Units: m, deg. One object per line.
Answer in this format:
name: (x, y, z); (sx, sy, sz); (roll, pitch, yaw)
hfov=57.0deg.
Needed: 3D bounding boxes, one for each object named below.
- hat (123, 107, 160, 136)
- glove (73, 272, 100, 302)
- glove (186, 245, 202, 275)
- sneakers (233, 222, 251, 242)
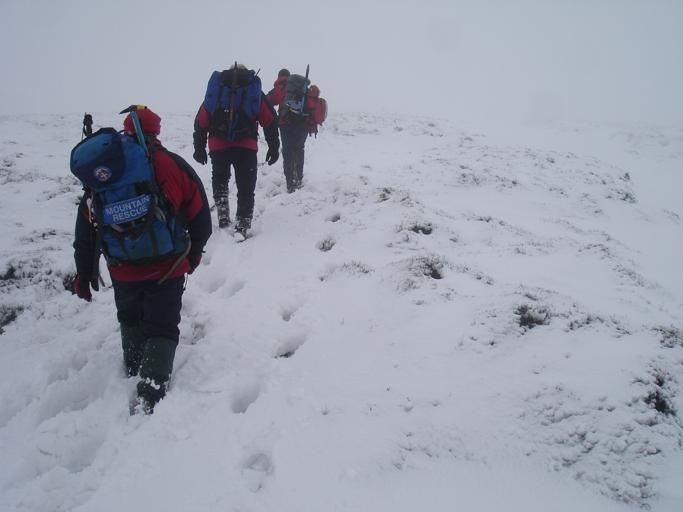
hat: (-3.129, -2.182, 9.845); (0.395, 0.448, 0.536); (-17, 45, -42)
glove: (-3.937, 0.463, 9.805); (0.358, 0.524, 0.209); (8, 18, 10)
glove: (-2.361, 0.066, 10.127); (0.259, 0.376, 0.377); (23, -16, -19)
sneakers: (-2.110, -0.518, 13.208); (0.188, 0.240, 0.564); (5, 23, 0)
